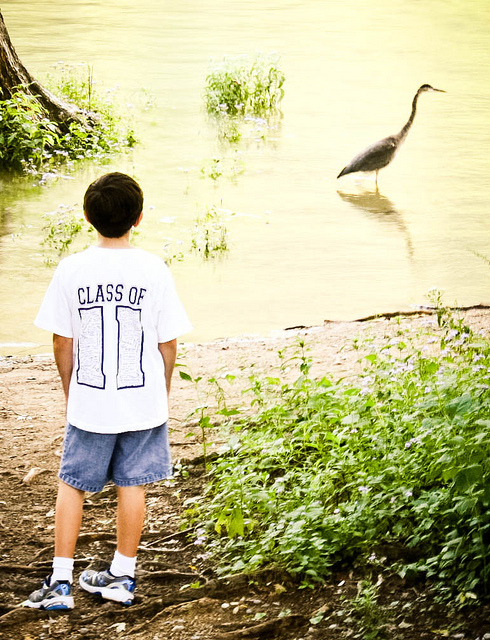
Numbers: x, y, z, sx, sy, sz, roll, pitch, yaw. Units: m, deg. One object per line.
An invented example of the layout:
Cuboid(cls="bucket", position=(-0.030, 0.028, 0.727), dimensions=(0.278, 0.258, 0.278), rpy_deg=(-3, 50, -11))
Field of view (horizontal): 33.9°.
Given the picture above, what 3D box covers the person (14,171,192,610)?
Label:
Cuboid(cls="person", position=(-0.617, 0.294, 3.315), dimensions=(0.525, 1.782, 0.642), rpy_deg=(10, 17, 23))
